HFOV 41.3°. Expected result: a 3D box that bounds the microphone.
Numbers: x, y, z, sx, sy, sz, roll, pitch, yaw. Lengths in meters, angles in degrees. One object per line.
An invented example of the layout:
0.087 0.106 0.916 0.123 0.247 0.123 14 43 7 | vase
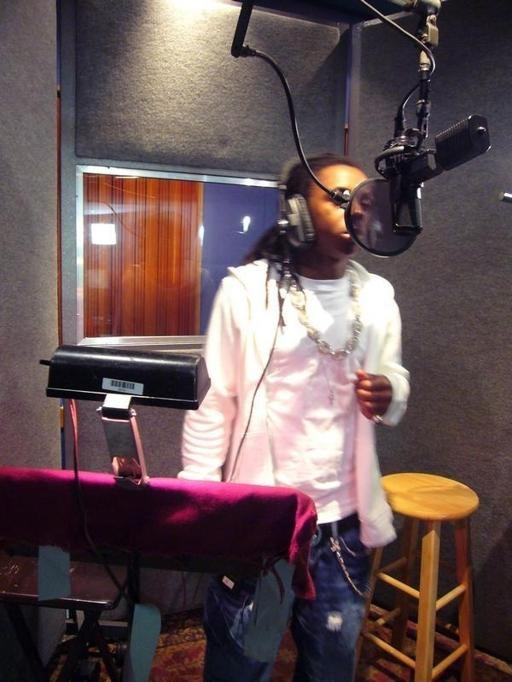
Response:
0.279 -0.259 1.341 0.196 0.280 0.334 2 -9 -24 | microphone

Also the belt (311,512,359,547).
0.173 0.430 1.487 0.134 0.079 0.021 -9 14 -30 | belt

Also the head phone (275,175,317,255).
0.086 -0.275 1.491 0.105 0.133 0.044 0 -21 -15 | head phone
